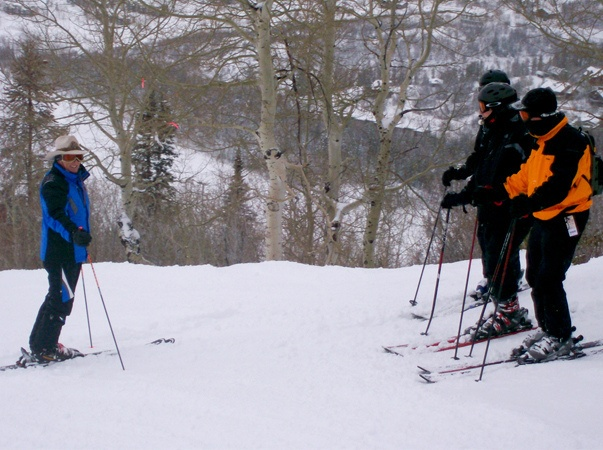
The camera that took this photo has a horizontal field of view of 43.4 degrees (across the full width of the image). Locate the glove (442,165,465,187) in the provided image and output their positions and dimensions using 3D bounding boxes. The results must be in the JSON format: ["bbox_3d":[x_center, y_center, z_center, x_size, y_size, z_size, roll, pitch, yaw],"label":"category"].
[{"bbox_3d":[2.811,-0.958,14.009,0.268,0.554,0.193,20,46,-13],"label":"glove"}]

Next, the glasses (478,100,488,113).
[{"bbox_3d":[3.274,-2.130,13.572,0.132,0.185,0.177,-6,3,-11],"label":"glasses"}]

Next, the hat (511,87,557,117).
[{"bbox_3d":[4.003,-2.131,13.008,0.773,0.469,0.587,9,11,0],"label":"hat"}]

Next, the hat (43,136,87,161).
[{"bbox_3d":[-4.296,-1.387,13.663,0.440,0.250,0.517,-14,5,-43],"label":"hat"}]

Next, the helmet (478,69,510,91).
[{"bbox_3d":[3.536,-2.663,13.964,0.337,0.481,0.475,4,15,27],"label":"helmet"}]

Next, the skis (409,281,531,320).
[{"bbox_3d":[3.179,1.422,14.062,1.346,0.116,0.166,-26,48,4],"label":"skis"}]

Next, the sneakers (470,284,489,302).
[{"bbox_3d":[3.386,1.261,14.387,0.200,0.354,0.138,12,17,-45],"label":"sneakers"}]

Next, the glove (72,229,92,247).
[{"bbox_3d":[-3.823,0.203,13.272,0.370,0.302,0.142,2,6,19],"label":"glove"}]
